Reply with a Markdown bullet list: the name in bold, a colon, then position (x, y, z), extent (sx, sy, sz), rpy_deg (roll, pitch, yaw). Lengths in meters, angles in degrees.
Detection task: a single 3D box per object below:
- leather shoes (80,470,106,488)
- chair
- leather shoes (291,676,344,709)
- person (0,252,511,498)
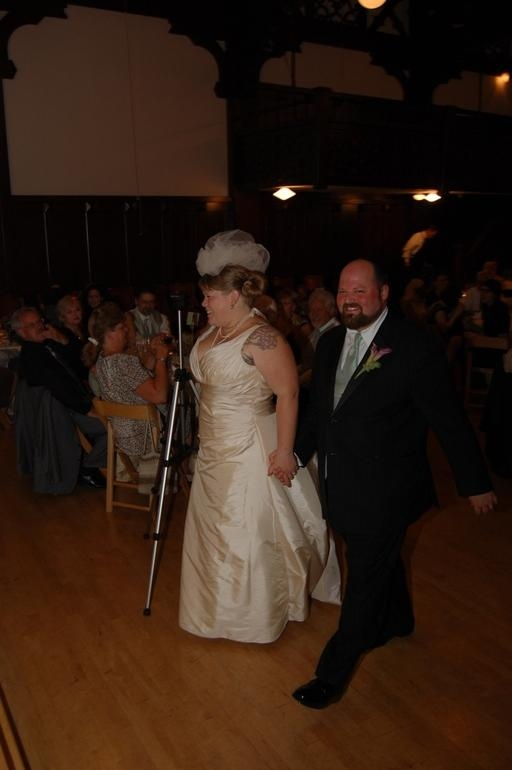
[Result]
- **leather shoes**: position (-1.258, 0.733, 4.262), extent (0.186, 0.085, 0.064), rpy_deg (18, 39, 14)
- **chair**: position (-1.317, 0.481, 4.320), extent (0.963, 1.162, 0.900), rpy_deg (-14, 27, -24)
- **leather shoes**: position (0.206, 1.008, 1.772), extent (0.116, 0.113, 0.056), rpy_deg (8, 43, -20)
- **person**: position (-0.167, -0.071, 3.424), extent (0.570, 1.592, 2.367), rpy_deg (-13, 21, -40)
